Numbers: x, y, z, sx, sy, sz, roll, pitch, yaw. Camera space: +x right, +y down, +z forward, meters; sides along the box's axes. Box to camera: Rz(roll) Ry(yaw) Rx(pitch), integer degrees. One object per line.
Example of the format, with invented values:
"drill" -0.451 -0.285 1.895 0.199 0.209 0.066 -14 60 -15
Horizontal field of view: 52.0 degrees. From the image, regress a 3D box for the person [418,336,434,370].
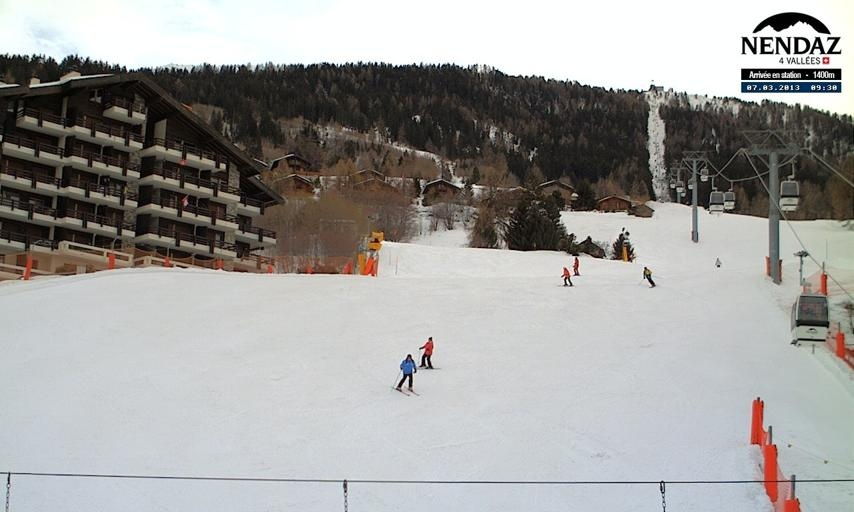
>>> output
"person" -0.092 6.136 54.427 0.996 2.367 0.948 5 21 -3
